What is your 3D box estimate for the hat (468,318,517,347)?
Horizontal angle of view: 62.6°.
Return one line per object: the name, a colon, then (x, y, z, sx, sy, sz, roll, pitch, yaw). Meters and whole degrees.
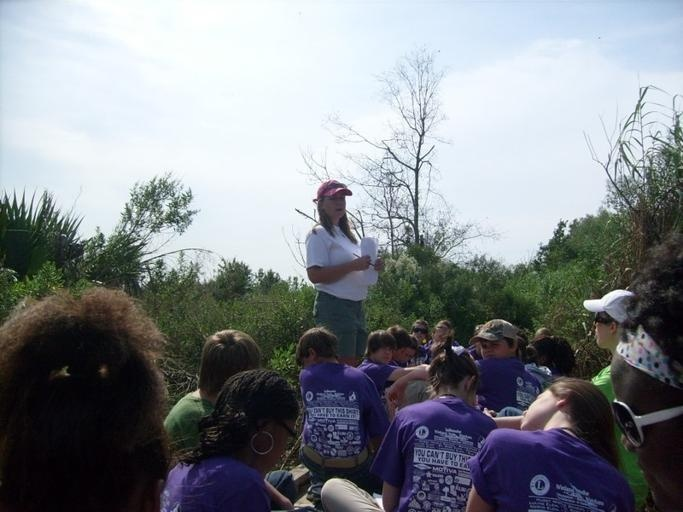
hat: (1.551, 0.709, 5.569, 0.343, 0.225, 0.276, 12, -16, -15)
